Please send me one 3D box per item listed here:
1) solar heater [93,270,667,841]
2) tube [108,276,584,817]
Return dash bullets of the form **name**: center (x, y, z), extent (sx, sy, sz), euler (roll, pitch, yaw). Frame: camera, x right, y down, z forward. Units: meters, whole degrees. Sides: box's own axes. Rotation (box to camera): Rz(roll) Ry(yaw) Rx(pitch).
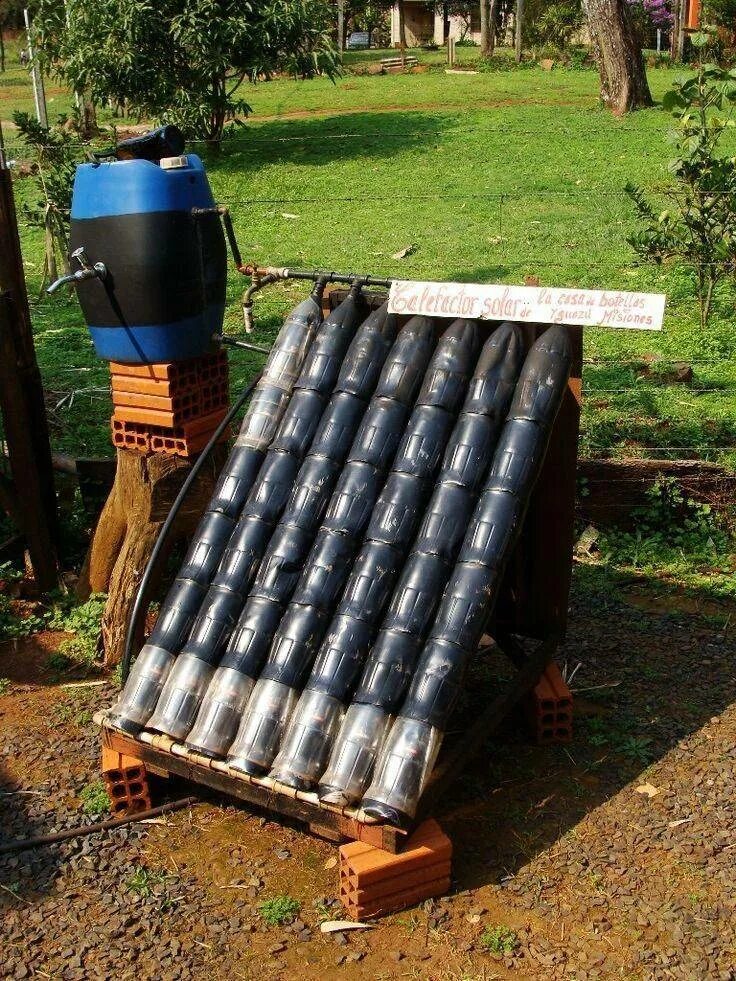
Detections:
- **solar heater**: center (-0.110, 0.097, 3.679), extent (2.188, 2.033, 1.781), euler (13, 22, 33)
- **tube**: center (-0.098, 0.086, 3.585), extent (1.431, 1.820, 1.696), euler (10, 24, 31)
